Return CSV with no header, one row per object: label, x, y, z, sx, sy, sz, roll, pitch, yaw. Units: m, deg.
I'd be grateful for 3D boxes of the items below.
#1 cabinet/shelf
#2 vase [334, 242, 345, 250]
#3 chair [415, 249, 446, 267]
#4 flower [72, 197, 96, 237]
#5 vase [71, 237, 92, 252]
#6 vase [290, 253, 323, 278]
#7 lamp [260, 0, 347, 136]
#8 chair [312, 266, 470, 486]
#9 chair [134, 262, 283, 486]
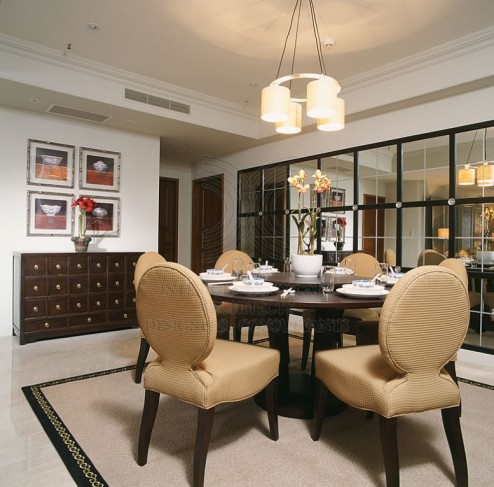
cabinet/shelf,-1.721,0.547,4.055,0.902,0.610,0.320,2,-5,-40
vase,0.989,0.028,4.382,0.084,0.063,0.084,0,-15,-1
chair,1.746,0.127,3.874,0.189,0.206,0.164,5,-2,-9
flower,-1.808,-0.284,4.542,0.274,0.416,0.237,0,0,-40
vase,-1.811,0.003,4.472,0.188,0.171,0.204,-1,3,-26
vase,0.412,0.135,2.802,0.172,0.117,0.178,4,4,40
lamp,0.485,-1.328,3.405,0.609,0.997,1.880,1,2,8
chair,0.654,0.540,1.928,0.424,0.911,0.578,-1,3,-25
chair,-0.182,0.565,1.986,0.638,0.986,0.463,-2,4,-43
